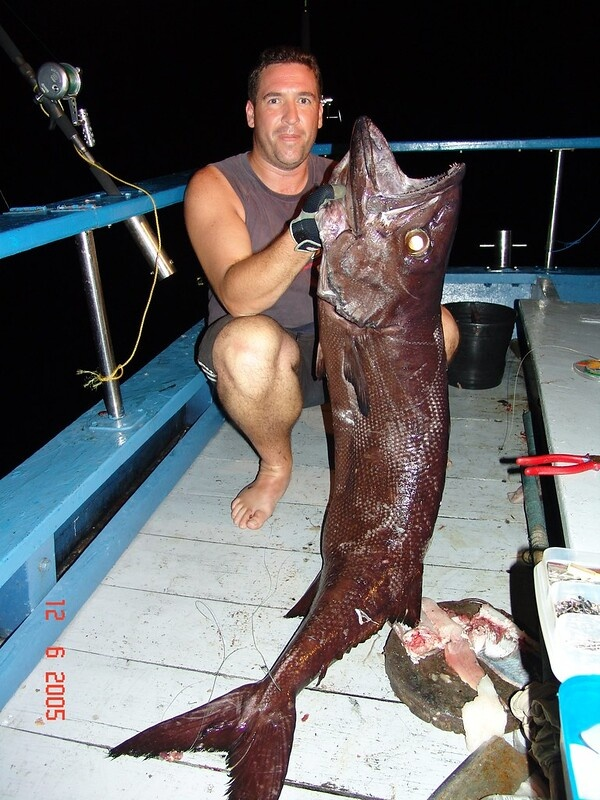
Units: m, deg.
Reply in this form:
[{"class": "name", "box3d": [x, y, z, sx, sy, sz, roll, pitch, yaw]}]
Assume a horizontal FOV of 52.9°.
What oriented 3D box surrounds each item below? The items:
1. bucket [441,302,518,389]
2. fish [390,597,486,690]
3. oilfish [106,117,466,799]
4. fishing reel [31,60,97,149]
[{"class": "bucket", "box3d": [0.854, -0.283, 2.871, 0.466, 0.452, 0.385, 0, 22, 4]}, {"class": "fish", "box3d": [0.332, 0.565, 1.437, 0.227, 0.102, 0.303, 1, 20, 0]}, {"class": "oilfish", "box3d": [0.054, 0.264, 1.356, 0.577, 1.489, 0.447, 15, 5, 0]}, {"class": "fishing reel", "box3d": [-0.639, -0.813, 1.673, 0.115, 0.207, 0.101, -9, 37, 2]}]
